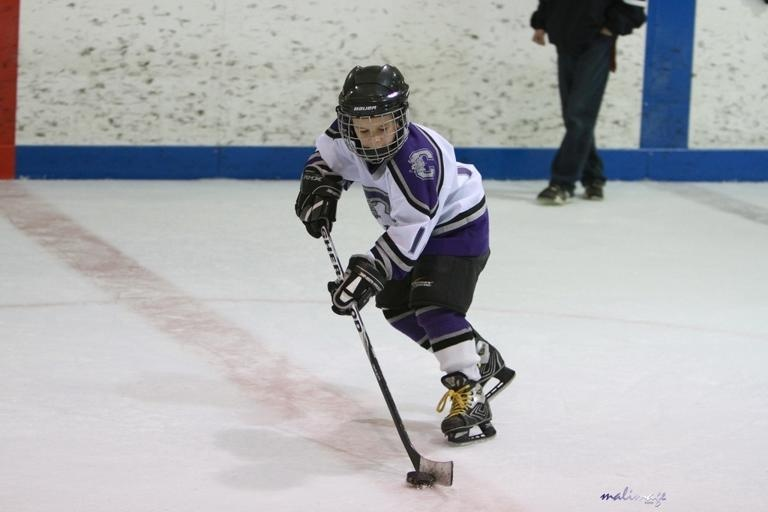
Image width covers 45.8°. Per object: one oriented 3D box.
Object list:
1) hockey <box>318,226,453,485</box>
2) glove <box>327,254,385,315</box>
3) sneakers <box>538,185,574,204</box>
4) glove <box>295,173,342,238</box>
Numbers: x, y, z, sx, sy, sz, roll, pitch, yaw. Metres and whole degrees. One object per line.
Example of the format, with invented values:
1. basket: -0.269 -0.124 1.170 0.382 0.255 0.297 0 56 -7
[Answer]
1. hockey: -0.047 0.302 3.099 0.229 1.140 0.168 -1 -38 -40
2. glove: -0.077 0.083 2.978 0.209 0.155 0.099 -38 -13 17
3. sneakers: 1.006 -0.368 5.403 0.098 0.089 0.242 -3 -4 43
4. glove: -0.229 -0.176 3.230 0.198 0.202 0.105 8 -3 22
